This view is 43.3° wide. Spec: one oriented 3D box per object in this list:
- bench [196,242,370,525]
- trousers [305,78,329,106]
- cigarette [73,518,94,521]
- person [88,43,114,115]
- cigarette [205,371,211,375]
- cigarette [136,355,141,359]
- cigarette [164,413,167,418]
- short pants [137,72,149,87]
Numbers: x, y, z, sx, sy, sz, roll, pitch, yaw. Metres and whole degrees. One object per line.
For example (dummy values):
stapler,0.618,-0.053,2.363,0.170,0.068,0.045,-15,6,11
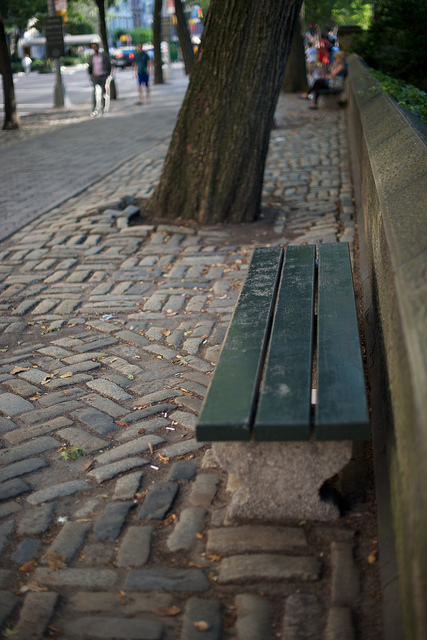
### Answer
bench,0.358,0.181,2.457,0.556,0.491,1.777,2,23,10
trousers,3.058,-6.845,15.872,0.857,0.514,2.168,5,37,10
cigarette,-0.491,0.757,2.047,0.072,0.003,0.018,-1,18,5
person,-4.008,-8.427,18.849,0.879,2.345,1.527,-7,19,-11
cigarette,-0.034,0.318,3.231,0.034,0.007,0.020,-6,37,10
cigarette,-0.493,0.241,3.511,0.015,0.003,0.037,-18,24,-41
cigarette,-0.249,0.494,2.799,0.011,0.001,0.049,-4,18,-5
short pants,-2.883,-9.764,21.777,0.450,0.229,1.000,6,39,2
